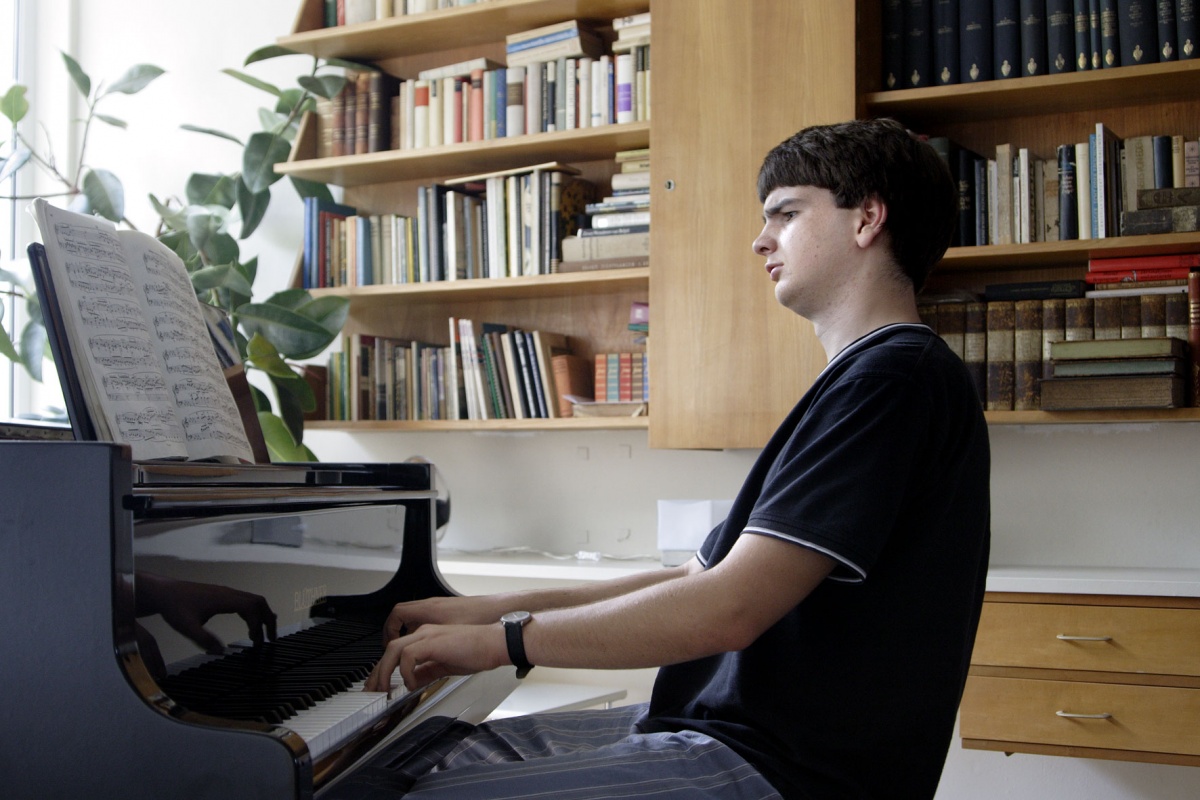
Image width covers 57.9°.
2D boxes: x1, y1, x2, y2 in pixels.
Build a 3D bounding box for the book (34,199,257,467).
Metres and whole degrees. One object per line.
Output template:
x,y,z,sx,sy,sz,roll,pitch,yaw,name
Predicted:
-0.908,-0.124,2.194,0.289,0.513,0.377,4,6,27,book
